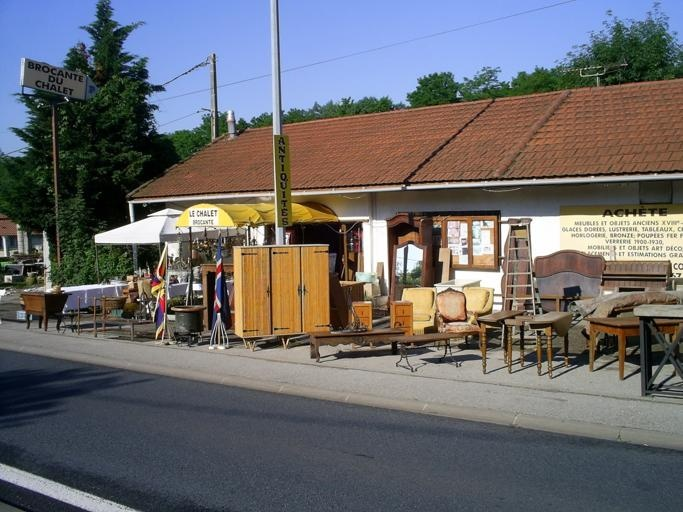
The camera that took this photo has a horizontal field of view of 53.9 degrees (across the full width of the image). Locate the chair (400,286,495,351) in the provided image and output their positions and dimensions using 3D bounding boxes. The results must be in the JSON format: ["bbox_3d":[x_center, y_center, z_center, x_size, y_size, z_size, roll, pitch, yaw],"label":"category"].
[{"bbox_3d":[2.677,1.726,16.666,1.657,1.779,1.880,1,4,24],"label":"chair"}]

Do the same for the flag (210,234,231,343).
[{"bbox_3d":[-3.078,0.860,17.042,0.464,2.817,0.602,0,6,-11],"label":"flag"}]

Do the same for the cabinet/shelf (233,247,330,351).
[{"bbox_3d":[-1.421,0.799,16.216,2.229,2.171,0.617,-4,6,-20],"label":"cabinet/shelf"}]

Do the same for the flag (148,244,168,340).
[{"bbox_3d":[-5.045,0.982,18.684,0.426,2.561,3.202,-3,6,-16],"label":"flag"}]
